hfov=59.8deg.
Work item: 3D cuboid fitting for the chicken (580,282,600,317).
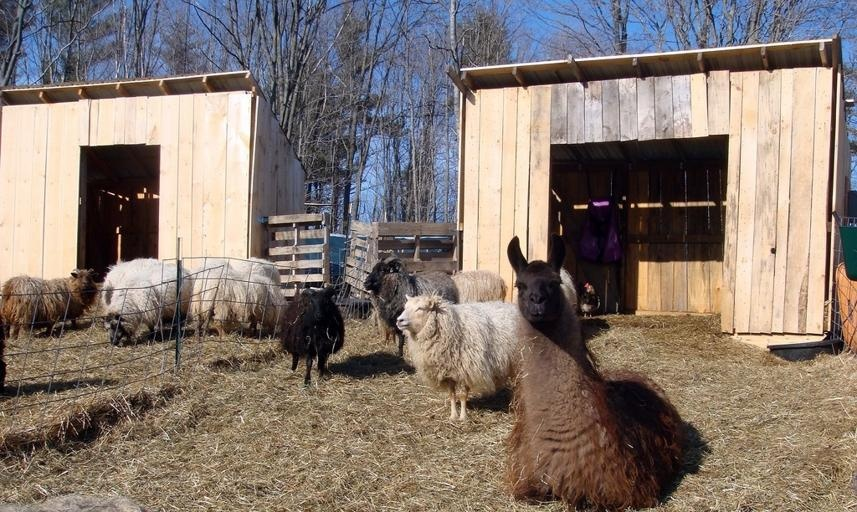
[{"bbox_3d":[4.021,1.110,18.657,0.420,0.957,0.655,-2,29,19],"label":"chicken"}]

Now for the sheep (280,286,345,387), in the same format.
[{"bbox_3d":[-2.210,1.415,13.569,1.070,1.284,0.841,-2,-1,35],"label":"sheep"}]
